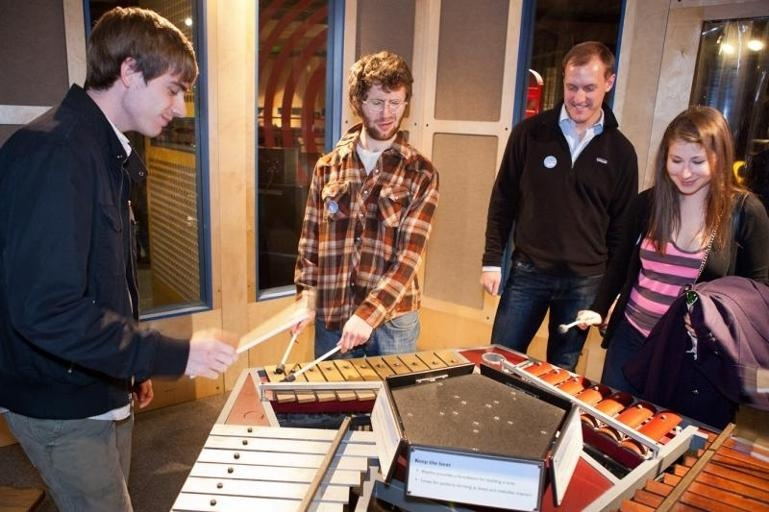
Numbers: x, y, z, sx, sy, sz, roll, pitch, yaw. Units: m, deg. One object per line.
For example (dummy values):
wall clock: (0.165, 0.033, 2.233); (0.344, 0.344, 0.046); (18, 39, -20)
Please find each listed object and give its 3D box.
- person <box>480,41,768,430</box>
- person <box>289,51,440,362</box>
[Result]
person: (1.274, -0.216, 3.175); (0.694, 1.897, 1.524); (-9, 18, -37)
person: (-0.097, -0.233, 2.960); (0.592, 1.566, 0.624); (-11, 19, -43)
